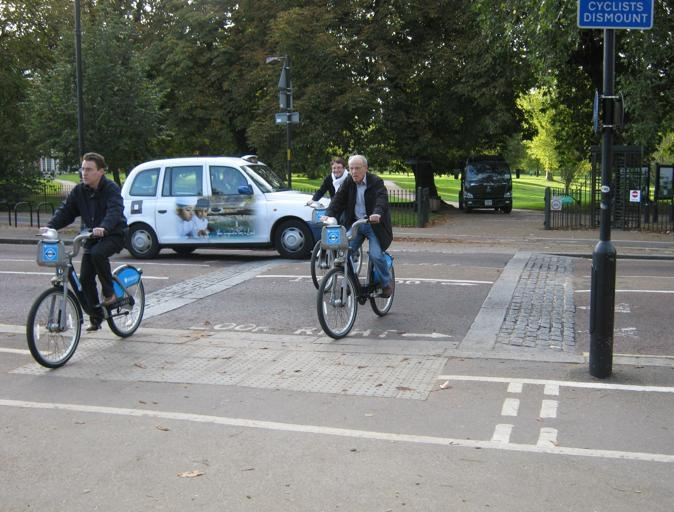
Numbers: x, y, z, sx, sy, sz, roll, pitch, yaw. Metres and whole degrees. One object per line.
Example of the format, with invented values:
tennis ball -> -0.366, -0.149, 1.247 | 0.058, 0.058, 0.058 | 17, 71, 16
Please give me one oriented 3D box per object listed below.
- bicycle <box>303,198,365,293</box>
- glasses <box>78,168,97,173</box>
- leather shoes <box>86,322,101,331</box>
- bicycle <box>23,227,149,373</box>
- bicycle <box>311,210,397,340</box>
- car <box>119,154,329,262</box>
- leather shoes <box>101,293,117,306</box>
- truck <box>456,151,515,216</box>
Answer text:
bicycle -> -0.241, -0.079, 11.325 | 1.480, 1.038, 0.843 | 4, -2, -43
glasses -> -2.765, -0.962, 8.033 | 0.160, 0.061, 0.100 | -2, 5, -1
leather shoes -> -2.841, 0.824, 8.379 | 0.171, 0.093, 0.086 | 5, 6, 19
bicycle -> -3.165, 0.561, 8.244 | 0.835, 1.237, 1.887 | -5, 0, 18
bicycle -> 0.015, 0.318, 9.140 | 0.802, 1.093, 1.622 | -4, 0, 26
car -> -2.565, -0.983, 16.046 | 3.972, 2.198, 2.188 | -1, 3, 6
leather shoes -> -2.627, 0.516, 8.321 | 0.140, 0.107, 0.137 | -23, -21, 34
truck -> 6.959, -3.374, 34.436 | 1.537, 1.843, 3.365 | 0, -1, 3
